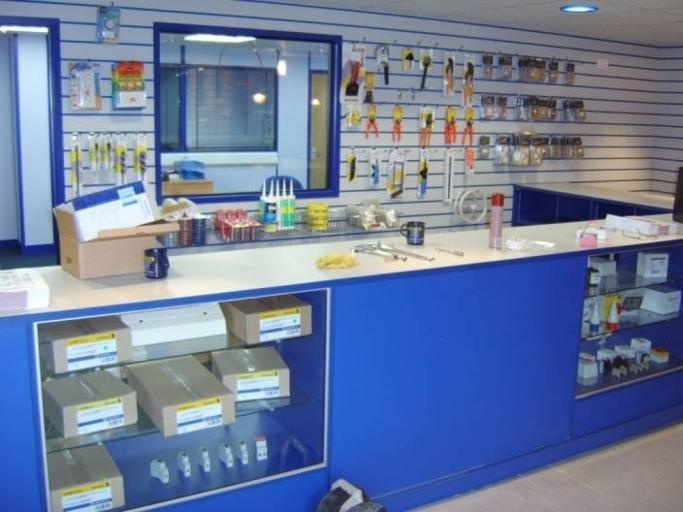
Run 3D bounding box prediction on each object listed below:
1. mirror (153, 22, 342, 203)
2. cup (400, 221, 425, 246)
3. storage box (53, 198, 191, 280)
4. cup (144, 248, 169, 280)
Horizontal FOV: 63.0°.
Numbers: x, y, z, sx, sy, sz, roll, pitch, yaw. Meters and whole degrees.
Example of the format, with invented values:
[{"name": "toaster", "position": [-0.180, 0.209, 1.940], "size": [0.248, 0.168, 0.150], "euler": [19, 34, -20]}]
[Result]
[{"name": "mirror", "position": [-1.022, -1.516, 5.680], "size": [2.143, 1.752, 0.107], "euler": [-3, 7, -28]}, {"name": "cup", "position": [0.445, -0.147, 3.434], "size": [0.128, 0.135, 0.281], "euler": [0, 10, 7]}, {"name": "storage box", "position": [-1.055, -0.127, 2.677], "size": [0.465, 0.294, 0.394], "euler": [-5, 12, -35]}, {"name": "cup", "position": [-0.871, 0.044, 2.647], "size": [0.132, 0.127, 0.083], "euler": [-6, -1, -23]}]
